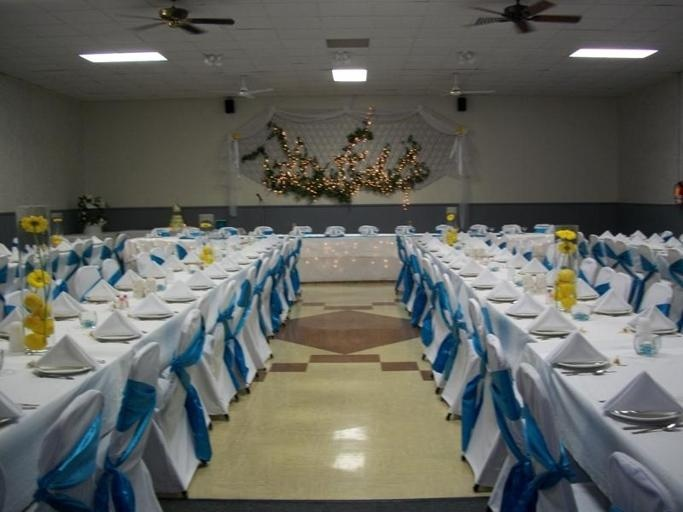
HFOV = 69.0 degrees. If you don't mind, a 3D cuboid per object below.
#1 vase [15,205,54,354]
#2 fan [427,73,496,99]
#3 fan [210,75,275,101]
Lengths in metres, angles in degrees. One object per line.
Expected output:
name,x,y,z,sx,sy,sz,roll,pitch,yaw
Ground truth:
vase,-1.596,0.132,2.587,0.174,0.717,0.276,-9,13,-40
fan,2.658,-3.638,10.798,1.033,0.374,0.963,-7,9,-24
fan,-2.073,-3.607,10.496,0.862,0.314,0.812,1,16,23
